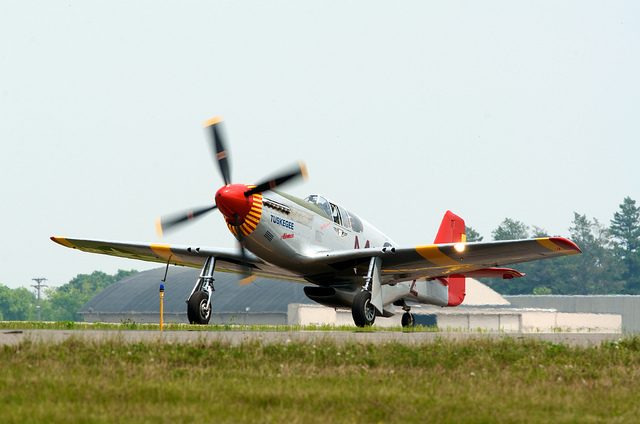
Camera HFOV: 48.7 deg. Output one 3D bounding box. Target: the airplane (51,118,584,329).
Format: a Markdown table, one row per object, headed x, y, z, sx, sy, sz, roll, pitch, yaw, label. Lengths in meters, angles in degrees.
| x | y | z | sx | sy | sz | roll | pitch | yaw | label |
| --- | --- | --- | --- | --- | --- | --- | --- | --- | --- |
| -0.136 | 0.375 | 20.336 | 12.759 | 5.775 | 4.964 | -3 | -6 | 6 | airplane |
